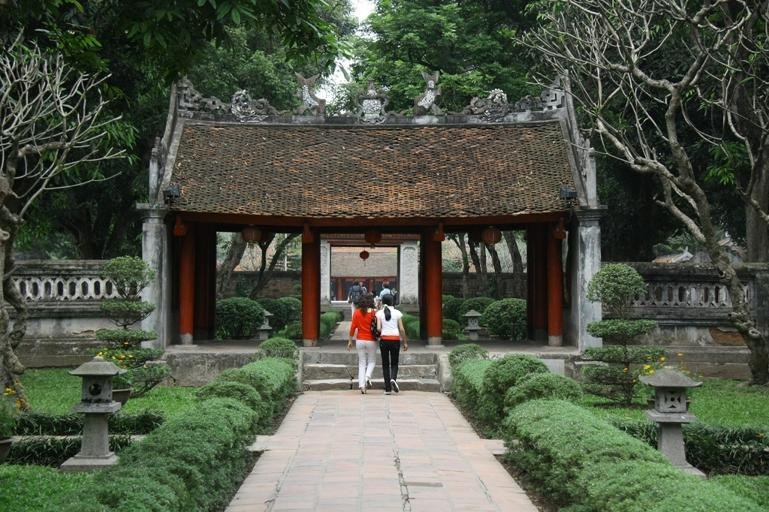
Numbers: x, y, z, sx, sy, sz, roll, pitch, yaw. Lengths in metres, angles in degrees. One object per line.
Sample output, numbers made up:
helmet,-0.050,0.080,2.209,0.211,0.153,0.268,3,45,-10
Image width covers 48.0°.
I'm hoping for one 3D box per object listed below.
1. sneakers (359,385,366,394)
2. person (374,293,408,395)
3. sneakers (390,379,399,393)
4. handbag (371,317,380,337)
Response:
sneakers,-0.398,2.432,15.805,0.130,0.147,0.349,-1,-10,0
person,0.118,1.580,15.598,0.511,1.790,0.615,-1,-6,4
sneakers,0.186,2.379,15.672,0.110,0.302,0.120,-20,9,9
handbag,-0.167,1.285,15.548,0.107,0.280,0.216,-6,9,-42
